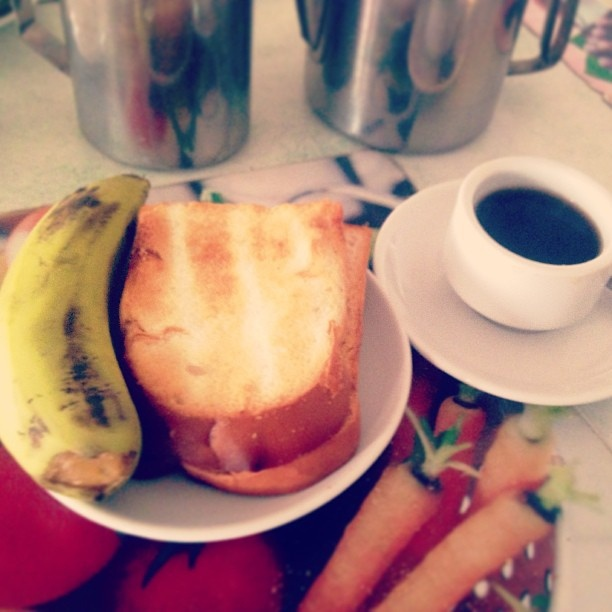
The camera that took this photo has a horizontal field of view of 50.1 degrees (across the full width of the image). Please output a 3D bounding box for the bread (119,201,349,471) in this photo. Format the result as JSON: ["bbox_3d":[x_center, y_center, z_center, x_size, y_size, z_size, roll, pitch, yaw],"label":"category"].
[{"bbox_3d":[-0.036,0.012,0.478,0.157,0.045,0.202,-3,62,6],"label":"bread"}]
